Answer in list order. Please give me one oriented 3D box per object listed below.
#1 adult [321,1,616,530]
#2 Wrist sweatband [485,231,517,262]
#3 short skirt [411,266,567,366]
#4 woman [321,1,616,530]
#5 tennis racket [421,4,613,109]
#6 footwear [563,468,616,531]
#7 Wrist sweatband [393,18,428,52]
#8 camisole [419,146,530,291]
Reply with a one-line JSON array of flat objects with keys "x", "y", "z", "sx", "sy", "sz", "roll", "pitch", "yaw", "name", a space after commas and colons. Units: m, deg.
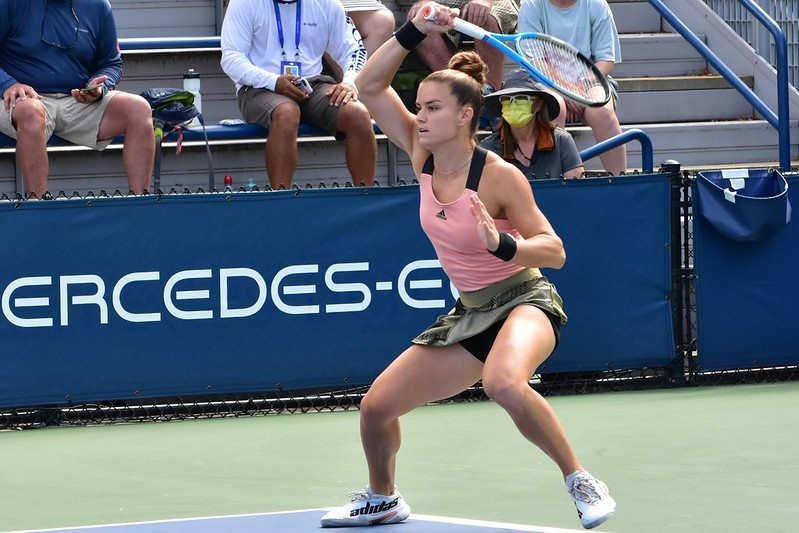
[{"x": 0.372, "y": 0.014, "z": 8.707, "sx": 1.712, "sy": 3.433, "sz": 0.982, "roll": -1, "pitch": 10, "yaw": 8, "name": "adult"}, {"x": 0.690, "y": -0.125, "z": 8.468, "sx": 0.145, "sy": 0.186, "sz": 0.184, "roll": -50, "pitch": 23, "yaw": -26, "name": "Wrist sweatband"}, {"x": 0.608, "y": 0.316, "z": 8.938, "sx": 1.053, "sy": 0.545, "sz": 0.565, "roll": -12, "pitch": -20, "yaw": 24, "name": "short skirt"}, {"x": 0.372, "y": 0.014, "z": 8.707, "sx": 1.712, "sy": 3.433, "sz": 0.982, "roll": -1, "pitch": 10, "yaw": 8, "name": "woman"}, {"x": 0.819, "y": -1.553, "z": 9.400, "sx": 1.456, "sy": 0.517, "sz": 0.141, "roll": 30, "pitch": 68, "yaw": 30, "name": "tennis racket"}, {"x": 1.199, "y": 1.472, "z": 8.425, "sx": 0.285, "sy": 0.367, "sz": 0.161, "roll": -2, "pitch": 10, "yaw": -1, "name": "footwear"}, {"x": 0.082, "y": -1.548, "z": 8.965, "sx": 0.217, "sy": 0.090, "sz": 0.170, "roll": -40, "pitch": 51, "yaw": -12, "name": "Wrist sweatband"}, {"x": 0.497, "y": -0.324, "z": 8.879, "sx": 0.748, "sy": 0.952, "sz": 0.599, "roll": 2, "pitch": 23, "yaw": 44, "name": "camisole"}]
